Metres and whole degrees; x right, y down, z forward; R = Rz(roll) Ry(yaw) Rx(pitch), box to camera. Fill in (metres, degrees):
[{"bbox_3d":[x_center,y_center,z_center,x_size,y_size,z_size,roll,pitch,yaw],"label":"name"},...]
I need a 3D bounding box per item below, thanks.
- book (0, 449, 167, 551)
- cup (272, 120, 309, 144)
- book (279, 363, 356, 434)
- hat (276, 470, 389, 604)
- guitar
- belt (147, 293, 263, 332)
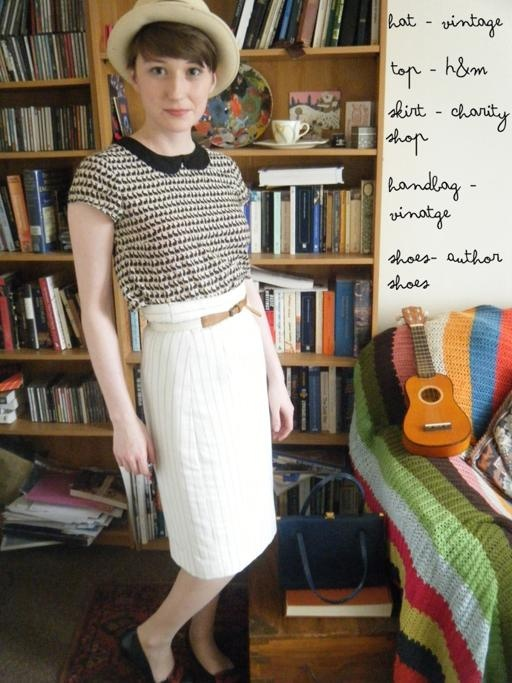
[{"bbox_3d":[-0.647,0.584,2.264,0.562,0.162,0.406,8,19,-5],"label":"book"},{"bbox_3d":[0.112,-0.644,1.872,0.143,0.082,0.106,-3,23,-3],"label":"cup"},{"bbox_3d":[0.225,0.181,2.232,0.308,0.292,0.225,0,12,5],"label":"book"},{"bbox_3d":[0.208,0.511,1.594,0.293,0.297,0.172,-2,-2,5],"label":"hat"},{"bbox_3d":[0.494,0.103,1.745,0.173,0.074,0.529,-4,44,8],"label":"guitar"},{"bbox_3d":[-0.109,-0.071,1.229,0.227,0.054,0.106,-10,20,-22],"label":"belt"}]
